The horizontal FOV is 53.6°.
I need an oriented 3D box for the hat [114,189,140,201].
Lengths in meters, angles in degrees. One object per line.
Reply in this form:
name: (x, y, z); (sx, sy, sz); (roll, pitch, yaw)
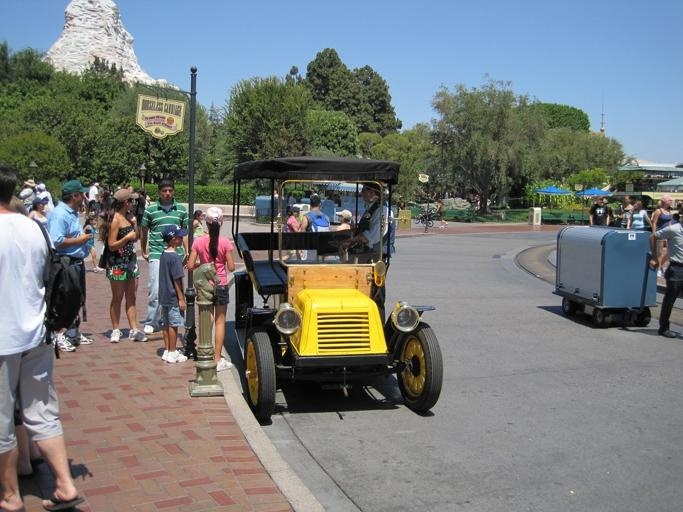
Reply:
hat: (-3.000, -0.849, 9.354); (0.224, 0.093, 0.148); (-11, 23, -43)

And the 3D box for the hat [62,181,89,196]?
hat: (-3.509, -0.842, 8.934); (0.314, 0.183, 0.233); (-11, 21, -43)

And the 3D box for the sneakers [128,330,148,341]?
sneakers: (-2.928, 1.124, 9.714); (0.131, 0.123, 0.259); (3, -5, -39)

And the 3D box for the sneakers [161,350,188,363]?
sneakers: (-2.190, 1.272, 8.822); (0.319, 0.167, 0.142); (0, 7, -17)

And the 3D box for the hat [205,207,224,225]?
hat: (-1.607, -0.494, 8.486); (0.165, 0.146, 0.274); (-1, 19, -14)

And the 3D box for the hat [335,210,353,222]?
hat: (0.012, -0.609, 10.090); (0.249, 0.147, 0.193); (21, 19, 18)

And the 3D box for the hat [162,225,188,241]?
hat: (-2.202, -0.312, 8.873); (0.256, 0.161, 0.189); (-12, 27, -26)

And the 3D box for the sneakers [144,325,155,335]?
sneakers: (-2.859, 1.068, 9.992); (0.095, 0.111, 0.241); (1, -8, -9)

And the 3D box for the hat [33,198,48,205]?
hat: (-4.642, -0.826, 10.427); (0.213, 0.083, 0.145); (-6, 17, -18)

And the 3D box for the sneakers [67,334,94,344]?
sneakers: (-3.676, 1.148, 9.497); (0.314, 0.168, 0.122); (-1, 13, -23)

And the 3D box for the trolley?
trolley: (4.795, 0.404, 12.335); (1.098, 1.564, 1.904); (-1, 5, -5)
